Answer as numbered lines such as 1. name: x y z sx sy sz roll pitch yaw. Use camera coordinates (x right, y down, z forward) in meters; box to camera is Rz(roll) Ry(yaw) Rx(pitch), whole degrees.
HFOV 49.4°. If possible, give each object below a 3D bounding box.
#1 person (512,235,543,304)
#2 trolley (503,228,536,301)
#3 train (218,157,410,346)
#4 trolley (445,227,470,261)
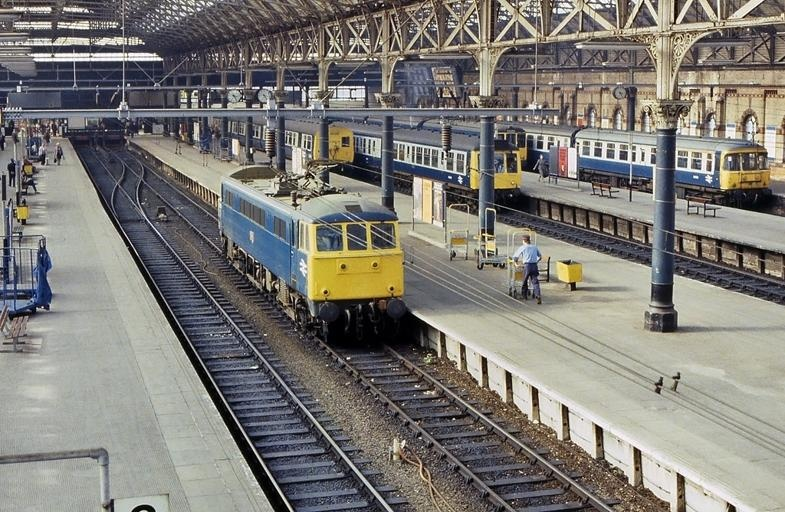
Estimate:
1. person: 4.356 0.302 27.514 0.884 2.245 1.580 -1 15 7
2. trolley: 4.327 0.360 29.130 1.125 2.942 1.934 -2 7 -9
3. train: -2.806 -0.853 30.359 3.028 4.382 11.693 -5 14 -20
4. trolley: 2.730 -0.423 34.328 0.771 1.436 1.356 0 0 -12
